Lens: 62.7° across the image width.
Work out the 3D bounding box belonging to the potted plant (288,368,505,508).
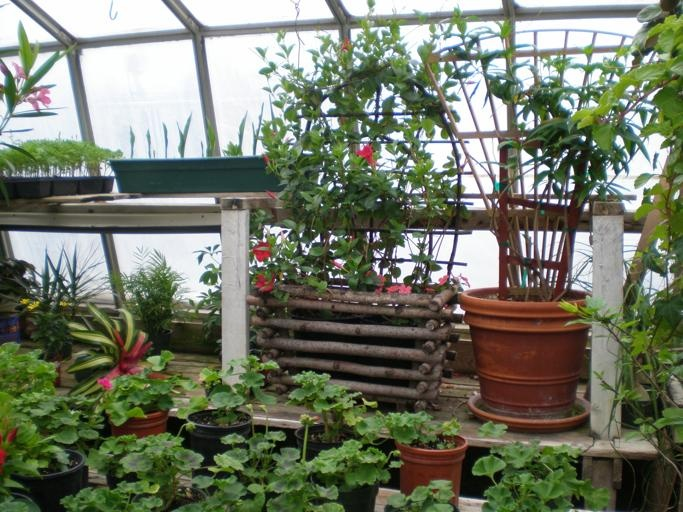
[{"bbox_3d":[0.132,0.674,2.132,0.661,0.458,0.343,1,-2,-6],"label":"potted plant"}]

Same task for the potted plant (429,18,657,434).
[{"bbox_3d":[0.891,-0.265,2.715,0.905,2.156,1.336,0,-2,15],"label":"potted plant"}]

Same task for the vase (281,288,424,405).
[{"bbox_3d":[0.114,0.462,2.921,0.765,0.364,0.581,0,-7,16],"label":"vase"}]
